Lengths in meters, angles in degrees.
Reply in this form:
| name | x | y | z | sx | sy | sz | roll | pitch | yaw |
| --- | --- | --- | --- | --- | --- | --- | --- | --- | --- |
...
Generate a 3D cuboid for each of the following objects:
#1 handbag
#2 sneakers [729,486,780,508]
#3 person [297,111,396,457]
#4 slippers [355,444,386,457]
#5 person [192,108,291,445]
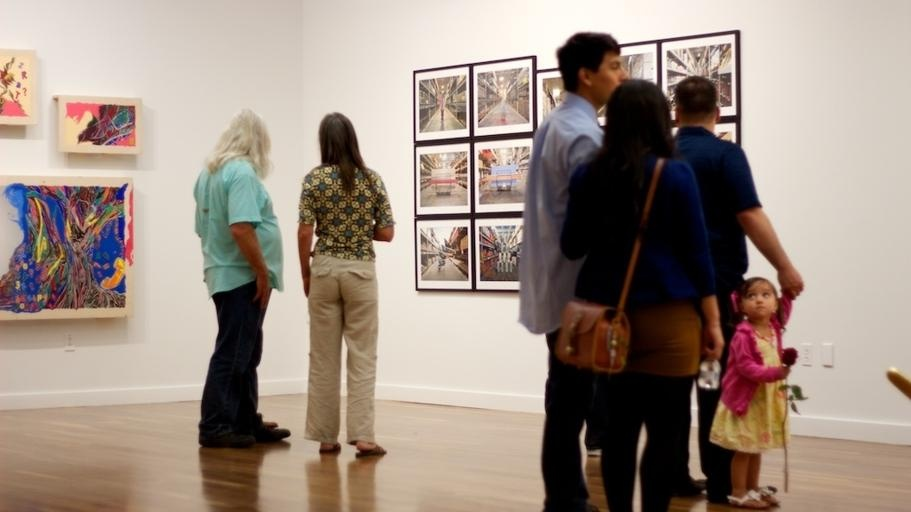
| name | x | y | z | sx | sy | sz | roll | pitch | yaw |
| --- | --- | --- | --- | --- | --- | --- | --- | --- | --- |
| handbag | 0.871 | 0.514 | 4.352 | 0.321 | 0.421 | 0.610 | 7 | -3 | -18 |
| sneakers | 2.255 | 1.802 | 5.056 | 0.225 | 0.067 | 0.175 | -3 | -3 | 18 |
| person | -1.002 | 0.246 | 6.063 | 0.835 | 3.068 | 0.418 | 0 | 3 | -8 |
| slippers | -0.768 | 1.740 | 6.047 | 0.292 | 0.100 | 0.102 | 1 | 1 | -32 |
| person | -2.078 | 0.179 | 6.385 | 0.778 | 3.159 | 0.556 | -1 | 3 | -16 |
